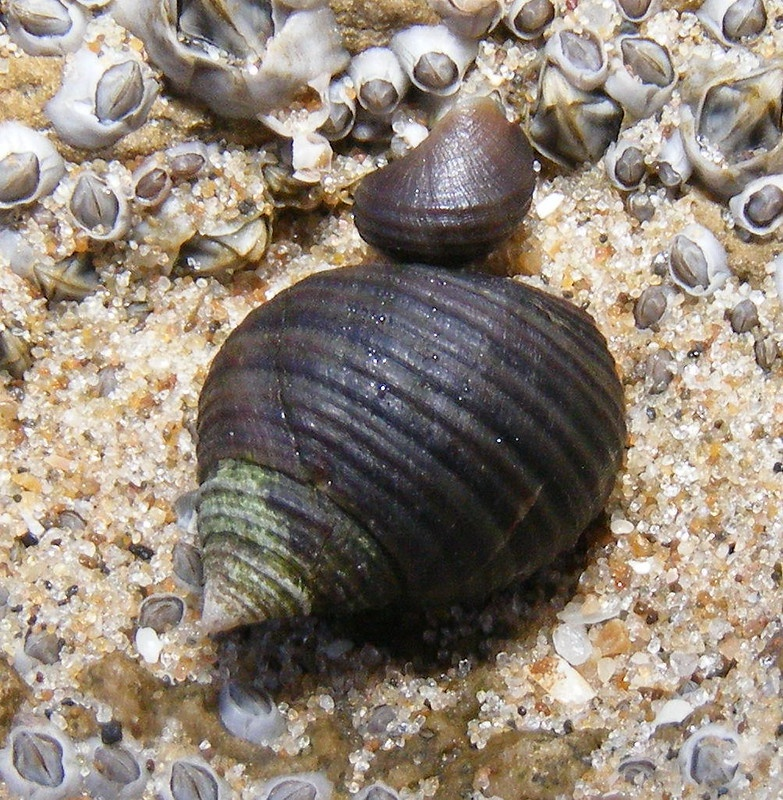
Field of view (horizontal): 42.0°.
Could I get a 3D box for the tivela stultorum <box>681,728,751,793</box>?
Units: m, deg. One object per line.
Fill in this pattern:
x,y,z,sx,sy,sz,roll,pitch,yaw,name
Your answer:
0.762,0.852,2.425,0.151,0.056,0.142,10,70,-5,tivela stultorum

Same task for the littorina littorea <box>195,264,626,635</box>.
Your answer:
0.044,0.056,2.350,1.002,0.391,0.759,-6,72,-10,littorina littorea
